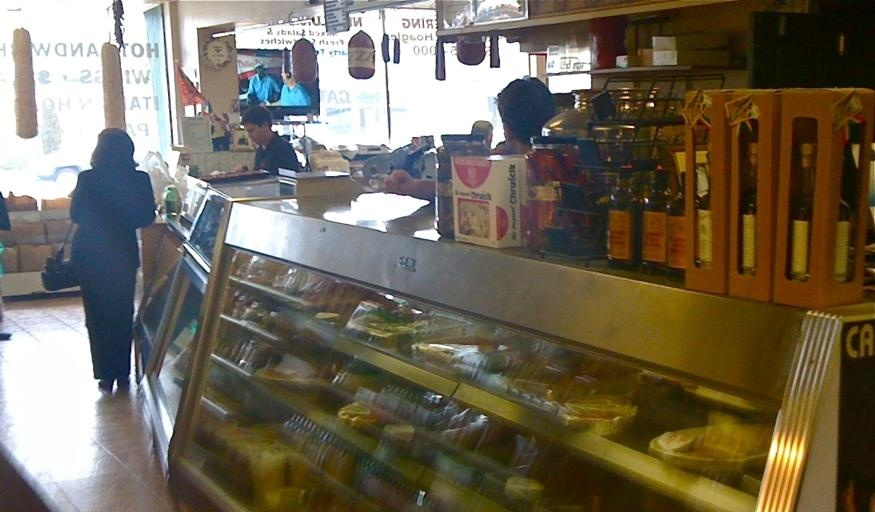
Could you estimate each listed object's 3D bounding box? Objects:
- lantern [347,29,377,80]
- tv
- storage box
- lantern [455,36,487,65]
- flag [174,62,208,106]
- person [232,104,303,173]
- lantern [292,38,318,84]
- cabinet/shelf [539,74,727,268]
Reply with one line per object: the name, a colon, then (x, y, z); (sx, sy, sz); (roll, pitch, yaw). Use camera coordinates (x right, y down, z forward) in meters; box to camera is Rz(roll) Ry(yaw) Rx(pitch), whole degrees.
lantern: (-0.709, -1.883, 5.427); (0.244, 0.420, 0.239); (-2, 14, -7)
tv: (-2.799, -3.147, 10.507); (1.540, 1.203, 0.729); (1, 24, 15)
storage box: (0.193, -0.193, 1.984); (0.169, 0.281, 0.301); (-7, 11, -23)
lantern: (0.266, -1.659, 4.708); (0.230, 0.194, 0.354); (0, 13, 2)
flag: (-3.326, -2.299, 7.761); (0.269, 0.565, 0.032); (-20, 3, -31)
person: (-1.887, -1.306, 6.668); (0.501, 0.723, 0.904); (-11, -6, -24)
lantern: (-1.391, -2.067, 6.116); (0.246, 0.401, 0.463); (-4, 14, -12)
cabinet/shelf: (0.516, -0.264, 1.853); (0.451, 0.619, 0.526); (-5, 13, -30)
